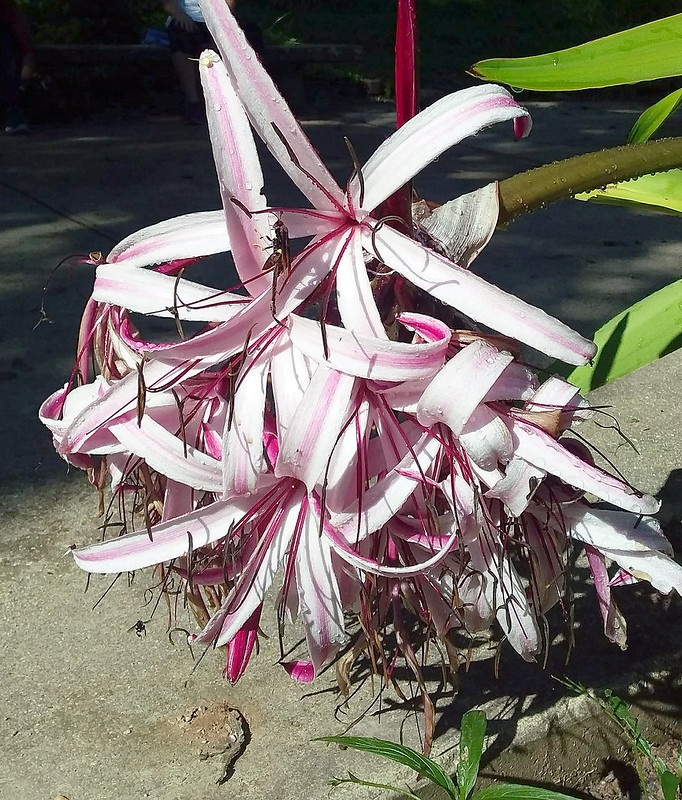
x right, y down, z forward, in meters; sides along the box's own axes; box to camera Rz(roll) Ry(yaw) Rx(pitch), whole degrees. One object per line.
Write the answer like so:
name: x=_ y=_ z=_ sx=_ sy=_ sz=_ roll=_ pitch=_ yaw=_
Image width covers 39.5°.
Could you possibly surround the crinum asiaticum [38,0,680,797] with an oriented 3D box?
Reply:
crinum asiaticum: x=0.032 y=-0.110 z=1.023 sx=0.602 sy=0.502 sz=0.797 roll=5 pitch=37 yaw=-6
